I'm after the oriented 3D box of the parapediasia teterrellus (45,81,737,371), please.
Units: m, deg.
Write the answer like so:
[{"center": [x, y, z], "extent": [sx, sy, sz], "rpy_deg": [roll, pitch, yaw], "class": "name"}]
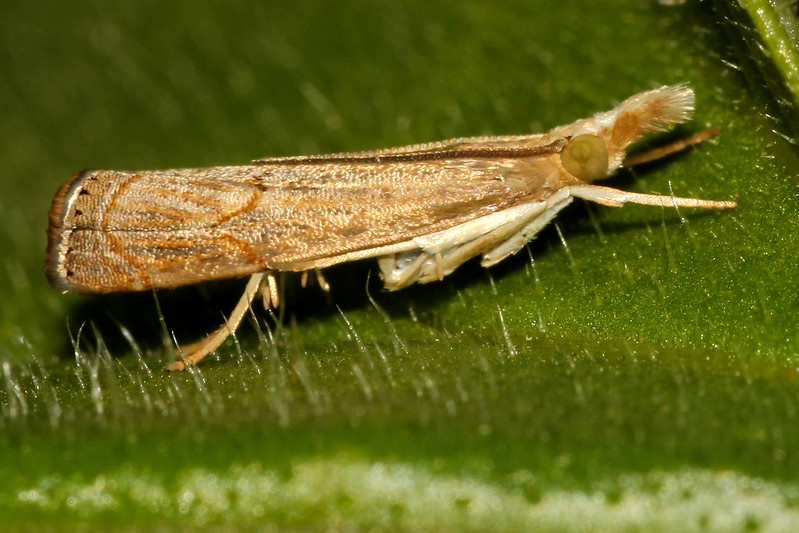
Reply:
[{"center": [-0.034, -0.274, 4.403], "extent": [3.169, 1.216, 0.789], "rpy_deg": [-11, -71, -3], "class": "parapediasia teterrellus"}]
